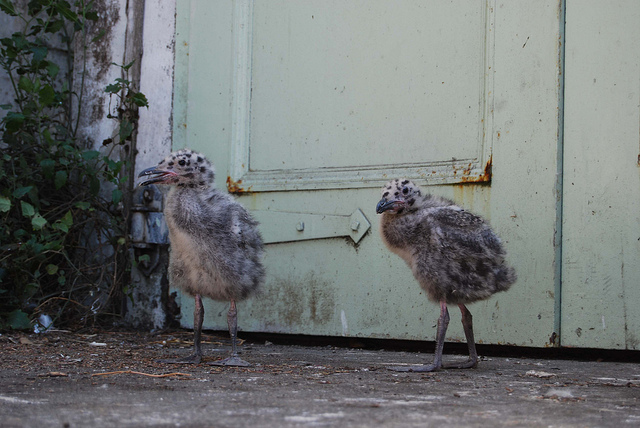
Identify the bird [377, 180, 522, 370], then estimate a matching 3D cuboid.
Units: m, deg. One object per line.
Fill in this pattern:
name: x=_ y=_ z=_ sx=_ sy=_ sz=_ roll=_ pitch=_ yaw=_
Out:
bird: x=1.036 y=0.508 z=7.565 sx=1.137 sy=1.557 sz=0.888 roll=1 pitch=-1 yaw=-8
